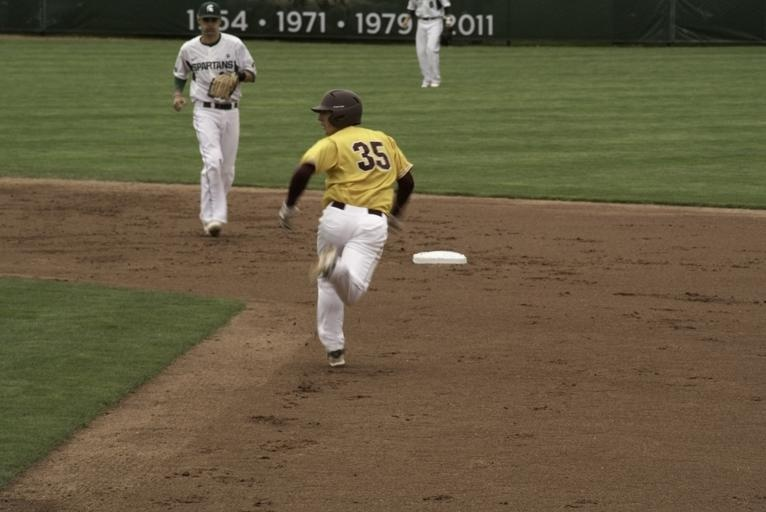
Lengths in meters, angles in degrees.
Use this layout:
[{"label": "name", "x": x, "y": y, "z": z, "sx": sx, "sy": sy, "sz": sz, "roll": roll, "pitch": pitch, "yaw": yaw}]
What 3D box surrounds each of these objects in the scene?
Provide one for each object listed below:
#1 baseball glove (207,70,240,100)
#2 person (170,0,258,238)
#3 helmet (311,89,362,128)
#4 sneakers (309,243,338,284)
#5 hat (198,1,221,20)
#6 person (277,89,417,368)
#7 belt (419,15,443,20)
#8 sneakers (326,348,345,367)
[{"label": "baseball glove", "x": -1.953, "y": -2.088, "z": 17.354, "sx": 0.302, "sy": 0.333, "sz": 0.117, "roll": 23, "pitch": -2, "yaw": -5}, {"label": "person", "x": -2.080, "y": -1.661, "z": 17.434, "sx": 0.955, "sy": 2.822, "sz": 0.754, "roll": 1, "pitch": 14, "yaw": -5}, {"label": "helmet", "x": -0.448, "y": -1.443, "z": 13.903, "sx": 0.507, "sy": 0.303, "sz": 0.329, "roll": 2, "pitch": 6, "yaw": 2}, {"label": "sneakers", "x": -0.592, "y": 0.079, "z": 13.594, "sx": 0.128, "sy": 0.328, "sz": 0.271, "roll": 43, "pitch": 20, "yaw": 25}, {"label": "hat", "x": -2.116, "y": -2.984, "z": 17.274, "sx": 0.243, "sy": 0.183, "sz": 0.273, "roll": 3, "pitch": 13, "yaw": 6}, {"label": "person", "x": -0.332, "y": -0.267, "z": 13.962, "sx": 0.741, "sy": 2.696, "sz": 1.166, "roll": 15, "pitch": 19, "yaw": 42}, {"label": "belt", "x": 0.931, "y": -4.609, "z": 27.512, "sx": 0.450, "sy": 0.097, "sz": 0.282, "roll": 3, "pitch": 12, "yaw": 5}, {"label": "sneakers", "x": -0.455, "y": 1.017, "z": 13.984, "sx": 0.120, "sy": 0.092, "sz": 0.236, "roll": -2, "pitch": 5, "yaw": -5}]
